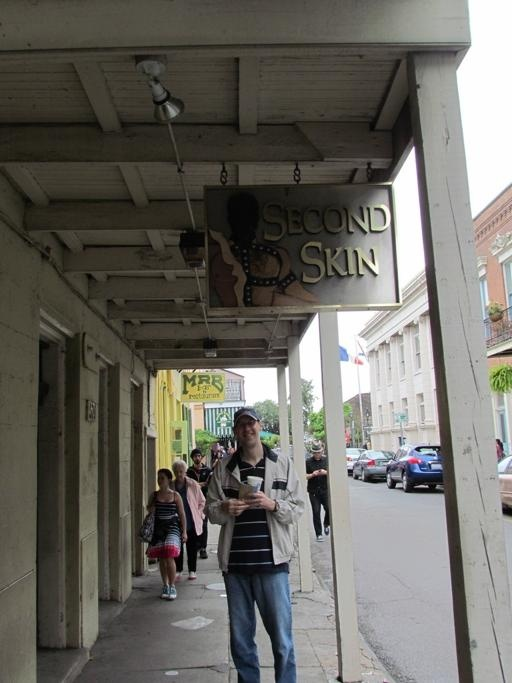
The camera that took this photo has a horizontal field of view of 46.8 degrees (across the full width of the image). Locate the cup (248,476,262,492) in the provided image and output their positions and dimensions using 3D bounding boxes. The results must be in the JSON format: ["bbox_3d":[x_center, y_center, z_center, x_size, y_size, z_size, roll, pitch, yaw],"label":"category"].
[{"bbox_3d":[-0.010,0.793,3.375,0.082,0.083,0.094,16,-2,13],"label":"cup"}]

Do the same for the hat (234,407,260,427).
[{"bbox_3d":[-0.061,0.453,3.697,0.136,0.120,0.246,-7,-9,-2],"label":"hat"}]

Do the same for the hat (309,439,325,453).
[{"bbox_3d":[1.126,1.939,11.020,0.196,0.172,0.295,0,-9,3],"label":"hat"}]

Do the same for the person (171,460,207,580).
[{"bbox_3d":[-1.045,2.628,8.590,0.533,1.882,0.515,0,13,4],"label":"person"}]

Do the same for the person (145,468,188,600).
[{"bbox_3d":[-1.129,2.395,7.403,0.453,1.559,0.570,-1,-10,-4],"label":"person"}]
